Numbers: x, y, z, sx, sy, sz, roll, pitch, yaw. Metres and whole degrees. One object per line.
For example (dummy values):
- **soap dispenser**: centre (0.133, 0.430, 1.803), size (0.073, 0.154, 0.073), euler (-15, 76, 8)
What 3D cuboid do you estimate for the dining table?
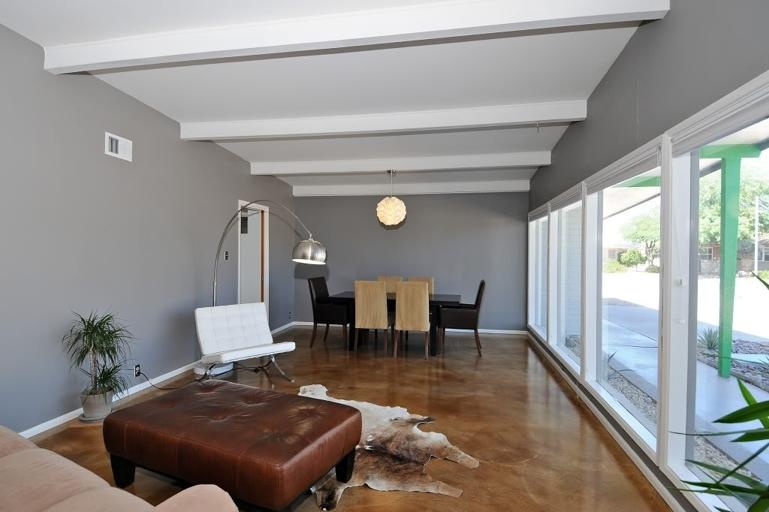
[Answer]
- **dining table**: centre (0.284, 1.231, 6.922), size (1.680, 0.844, 0.854), euler (0, 3, 14)

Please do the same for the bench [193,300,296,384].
- **bench**: centre (-1.634, 1.002, 5.532), size (0.828, 0.747, 0.947), euler (10, 7, 41)

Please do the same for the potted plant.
- **potted plant**: centre (-2.793, 1.061, 4.656), size (0.532, 1.013, 0.486), euler (5, -8, -42)

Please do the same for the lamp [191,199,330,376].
- **lamp**: centre (-1.453, 0.418, 5.599), size (1.699, 2.082, 1.247), euler (2, -1, 16)

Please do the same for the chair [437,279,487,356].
- **chair**: centre (1.125, 0.897, 7.365), size (0.885, 1.498, 1.041), euler (1, -4, 9)

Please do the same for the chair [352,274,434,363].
- **chair**: centre (0.107, 0.749, 6.982), size (1.289, 1.230, 0.919), euler (0, 3, 12)
